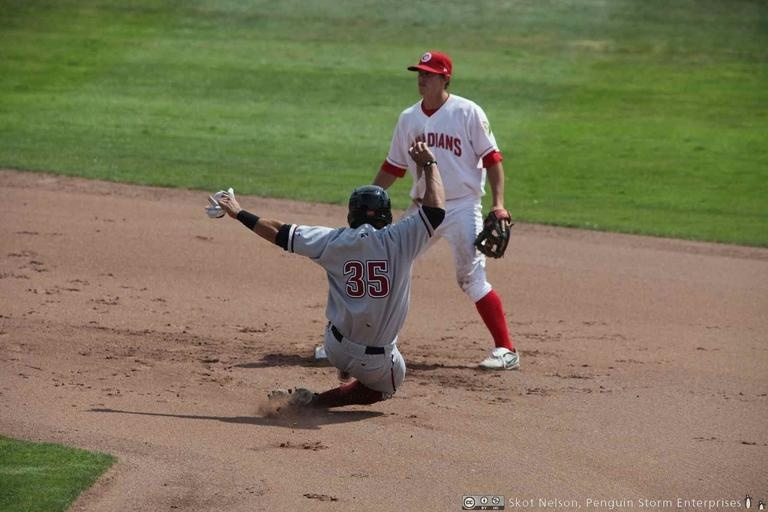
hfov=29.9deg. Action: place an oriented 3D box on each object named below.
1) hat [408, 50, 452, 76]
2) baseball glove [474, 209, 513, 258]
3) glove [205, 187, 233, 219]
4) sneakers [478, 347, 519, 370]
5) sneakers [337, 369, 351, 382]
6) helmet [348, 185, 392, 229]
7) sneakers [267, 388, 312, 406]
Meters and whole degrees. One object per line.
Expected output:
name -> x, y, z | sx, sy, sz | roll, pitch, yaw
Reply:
hat -> 0.492, -2.042, 15.233 | 0.394, 0.253, 0.443 | 0, 18, -6
baseball glove -> 1.216, -0.209, 15.105 | 0.359, 0.490, 0.212 | 25, 10, 32
glove -> -1.635, -0.507, 14.274 | 0.237, 0.332, 0.119 | 41, -5, 5
sneakers -> 1.191, 1.111, 15.065 | 0.484, 0.229, 0.187 | -13, 23, -39
sneakers -> -0.410, 1.234, 14.520 | 0.088, 0.137, 0.142 | 0, -3, -2
helmet -> -0.145, -0.471, 14.103 | 0.351, 0.355, 0.469 | 1, 10, 6
sneakers -> -0.924, 1.421, 14.281 | 0.339, 0.202, 0.135 | 3, 54, 13
